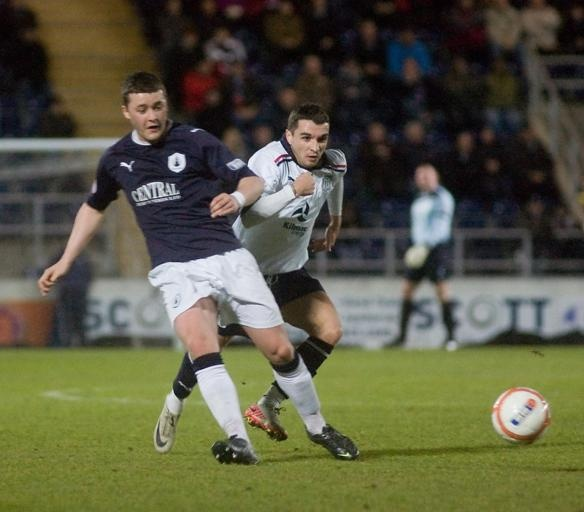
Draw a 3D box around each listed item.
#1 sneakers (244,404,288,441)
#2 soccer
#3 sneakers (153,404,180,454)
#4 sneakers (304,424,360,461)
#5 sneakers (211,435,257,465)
[{"bbox_3d":[-0.183,1.153,7.127,0.467,0.135,0.218,27,-6,-41],"label":"sneakers"},{"bbox_3d":[1.546,1.058,7.026,0.375,0.358,0.366,0,1,-2],"label":"soccer"},{"bbox_3d":[-0.871,1.184,6.951,0.124,0.349,0.151,10,-15,-25],"label":"sneakers"},{"bbox_3d":[0.290,1.239,6.917,0.403,0.146,0.157,28,-20,23],"label":"sneakers"},{"bbox_3d":[-0.370,1.218,6.436,0.258,0.145,0.120,4,-28,24],"label":"sneakers"}]
